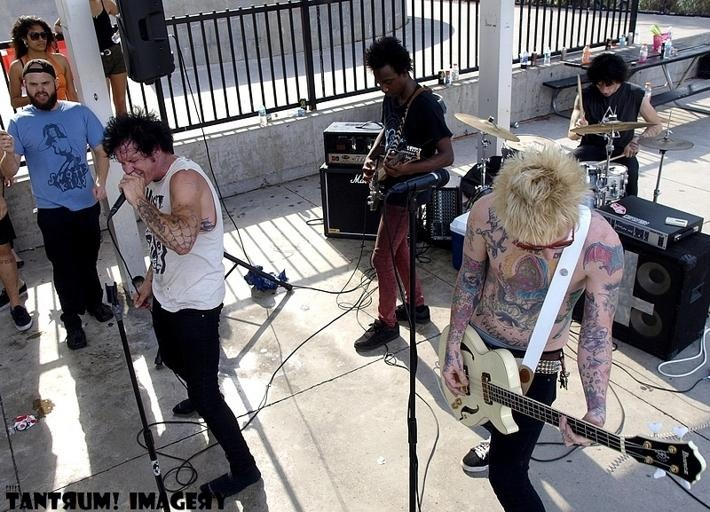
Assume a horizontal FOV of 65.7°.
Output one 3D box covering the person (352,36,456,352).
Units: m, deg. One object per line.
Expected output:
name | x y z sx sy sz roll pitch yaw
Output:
person | 0.354 -0.458 4.713 0.765 2.518 0.844 -1 19 -1

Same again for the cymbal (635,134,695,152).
cymbal | 3.270 -1.174 5.805 0.502 0.172 0.338 -9 26 -11

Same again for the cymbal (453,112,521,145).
cymbal | 1.283 -1.197 5.279 0.433 0.251 0.713 -11 26 -16
